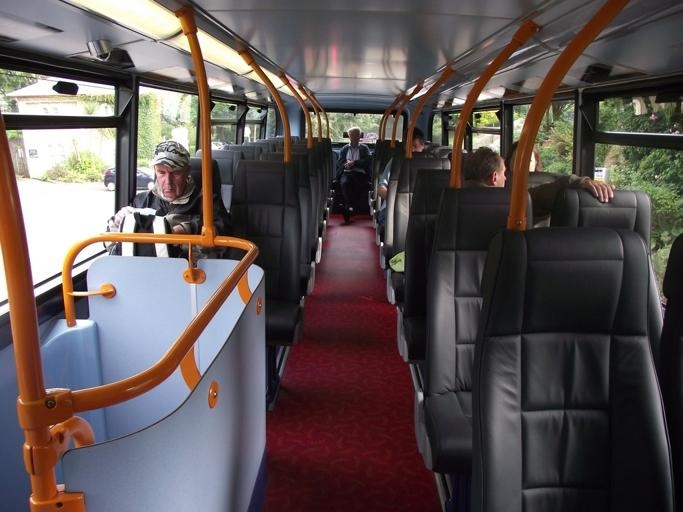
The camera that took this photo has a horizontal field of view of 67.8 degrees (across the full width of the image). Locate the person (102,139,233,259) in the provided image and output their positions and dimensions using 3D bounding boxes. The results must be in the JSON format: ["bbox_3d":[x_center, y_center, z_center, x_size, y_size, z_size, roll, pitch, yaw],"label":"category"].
[{"bbox_3d":[-1.163,-0.222,3.439,0.710,1.029,0.540,0,3,-13],"label":"person"}]

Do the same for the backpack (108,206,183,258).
[{"bbox_3d":[-1.081,-0.105,2.802,0.426,0.288,0.547,-3,11,-18],"label":"backpack"}]

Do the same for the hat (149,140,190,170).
[{"bbox_3d":[-1.127,-0.657,3.334,0.156,0.142,0.234,4,-3,-1],"label":"hat"}]
